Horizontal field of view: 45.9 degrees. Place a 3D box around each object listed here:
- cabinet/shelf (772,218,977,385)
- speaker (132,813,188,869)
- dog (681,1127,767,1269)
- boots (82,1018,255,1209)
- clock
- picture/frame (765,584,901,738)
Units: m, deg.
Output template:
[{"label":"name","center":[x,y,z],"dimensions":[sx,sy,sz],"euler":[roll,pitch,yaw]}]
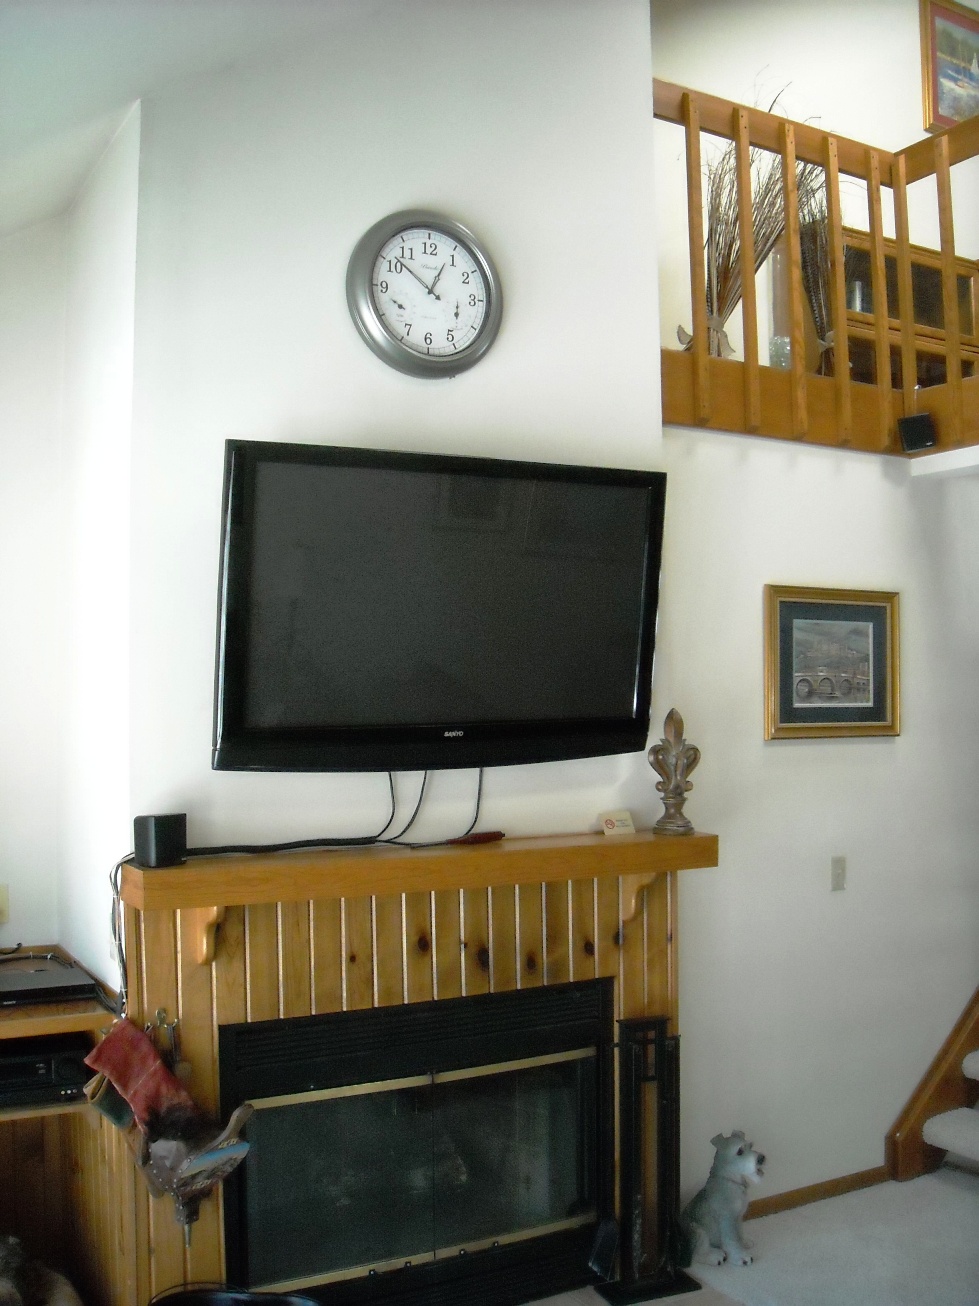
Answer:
[{"label":"cabinet/shelf","center":[1.220,-1.116,3.711],"dimensions":[0.641,0.714,0.224],"euler":[3,-9,-26]},{"label":"speaker","center":[-0.611,0.348,2.144],"dimensions":[0.083,0.100,0.086],"euler":[8,-10,-41]},{"label":"dog","center":[0.587,1.359,2.928],"dimensions":[0.187,0.350,0.283],"euler":[0,3,11]},{"label":"boots","center":[-0.589,0.827,2.086],"dimensions":[0.234,0.414,0.125],"euler":[-19,10,-20]},{"label":"clock","center":[-0.136,-0.787,2.546],"dimensions":[0.309,0.378,0.062],"euler":[3,-14,-16]},{"label":"picture/frame","center":[1.004,0.034,3.375],"dimensions":[0.562,0.462,0.046],"euler":[-2,3,-32]}]
